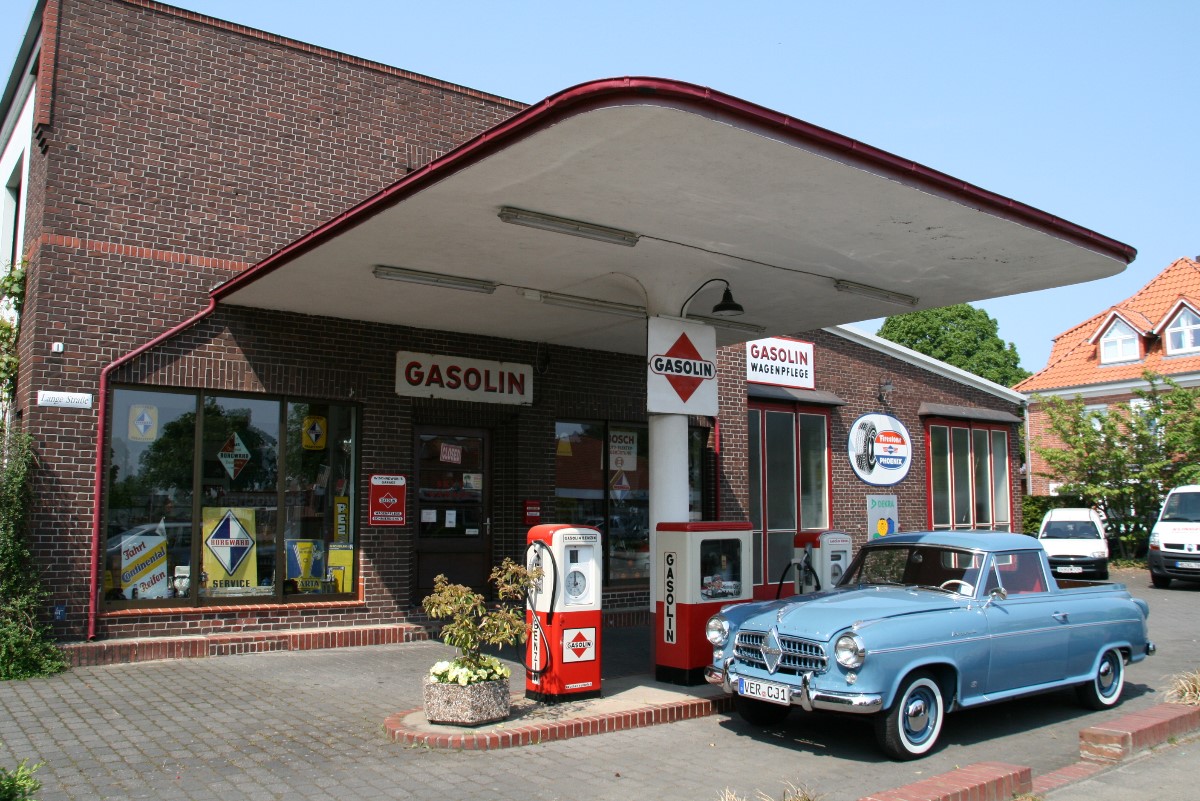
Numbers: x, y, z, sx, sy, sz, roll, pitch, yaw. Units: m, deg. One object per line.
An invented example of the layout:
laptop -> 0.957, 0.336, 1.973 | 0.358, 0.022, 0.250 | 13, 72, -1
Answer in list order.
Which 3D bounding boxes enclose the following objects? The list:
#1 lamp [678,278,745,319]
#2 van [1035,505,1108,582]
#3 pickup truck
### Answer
lamp -> 1.522, -1.444, 13.478 | 0.989, 0.466, 0.503 | -12, -16, 43
van -> 11.137, 3.357, 22.232 | 2.055, 1.760, 4.100 | -5, -12, 28
pickup truck -> 3.832, 2.687, 11.182 | 4.391, 1.543, 2.392 | 6, -12, -31
